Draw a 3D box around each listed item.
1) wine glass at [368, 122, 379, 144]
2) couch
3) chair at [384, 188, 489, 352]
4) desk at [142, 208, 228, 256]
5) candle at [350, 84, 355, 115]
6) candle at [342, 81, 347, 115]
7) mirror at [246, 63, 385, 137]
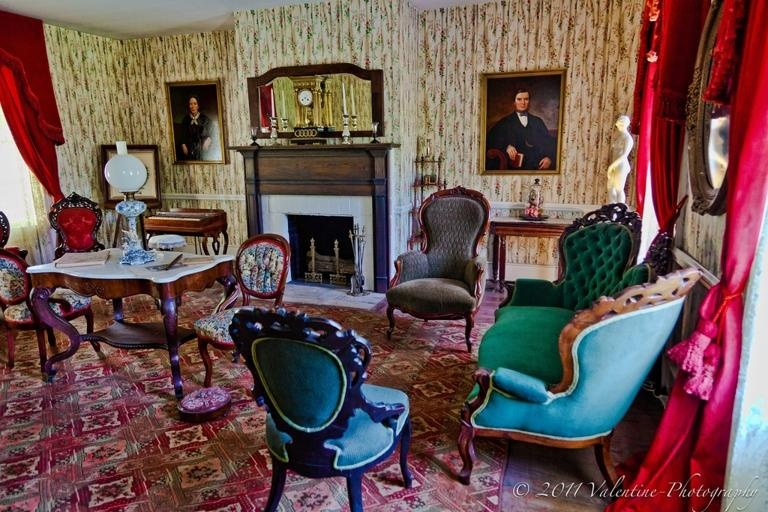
[{"bbox_3d":[-0.121,-1.473,6.154,0.108,0.233,0.180,1,11,8],"label":"wine glass"},{"bbox_3d":[1.372,0.621,3.695,1.316,1.628,1.516,5,12,25],"label":"couch"},{"bbox_3d":[0.618,0.068,5.113,0.938,1.398,1.034,10,16,37],"label":"chair"},{"bbox_3d":[-2.720,-0.275,7.222,0.959,0.654,0.605,3,13,21],"label":"desk"},{"bbox_3d":[-0.378,-1.885,6.250,0.065,0.368,0.018,0,12,4],"label":"candle"},{"bbox_3d":[-0.483,-1.916,6.249,0.057,0.399,0.086,-3,12,-10],"label":"candle"},{"bbox_3d":[-0.827,-1.906,6.187,1.635,0.914,0.059,-6,-23,-6],"label":"mirror"}]
